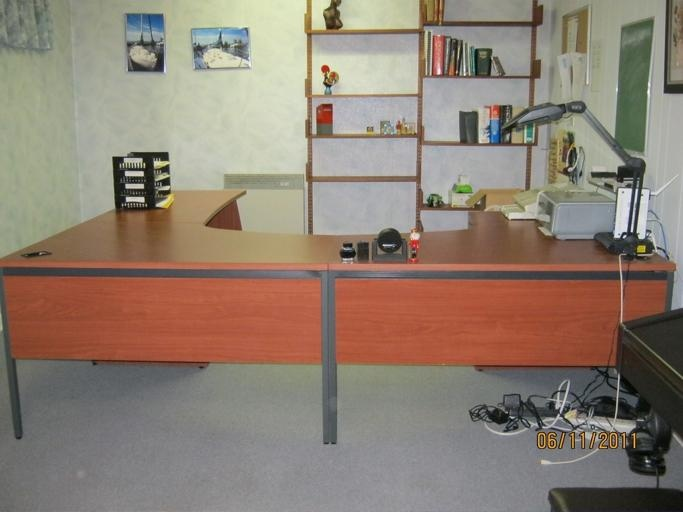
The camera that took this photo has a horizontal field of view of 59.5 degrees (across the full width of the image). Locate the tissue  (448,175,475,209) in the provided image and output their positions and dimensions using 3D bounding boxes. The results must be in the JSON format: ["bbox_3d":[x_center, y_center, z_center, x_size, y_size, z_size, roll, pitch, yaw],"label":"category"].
[{"bbox_3d":[1.102,-0.601,5.564,0.277,0.382,0.280,-1,14,0],"label":"tissue "}]

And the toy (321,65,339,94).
[{"bbox_3d":[-0.098,-1.628,5.466,0.162,0.267,0.249,-1,14,-1],"label":"toy"}]

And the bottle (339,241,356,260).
[{"bbox_3d":[0.037,-0.019,3.021,0.081,0.094,0.087,3,13,3],"label":"bottle"}]

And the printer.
[{"bbox_3d":[1.370,-0.295,3.435,0.292,0.181,0.395,0,15,4],"label":"printer"}]

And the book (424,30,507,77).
[{"bbox_3d":[1.064,-1.762,5.332,0.506,0.188,0.511,1,28,-6],"label":"book"}]

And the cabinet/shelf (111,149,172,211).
[{"bbox_3d":[-1.394,-0.551,4.418,0.394,0.516,0.520,0,15,-1],"label":"cabinet/shelf"}]
